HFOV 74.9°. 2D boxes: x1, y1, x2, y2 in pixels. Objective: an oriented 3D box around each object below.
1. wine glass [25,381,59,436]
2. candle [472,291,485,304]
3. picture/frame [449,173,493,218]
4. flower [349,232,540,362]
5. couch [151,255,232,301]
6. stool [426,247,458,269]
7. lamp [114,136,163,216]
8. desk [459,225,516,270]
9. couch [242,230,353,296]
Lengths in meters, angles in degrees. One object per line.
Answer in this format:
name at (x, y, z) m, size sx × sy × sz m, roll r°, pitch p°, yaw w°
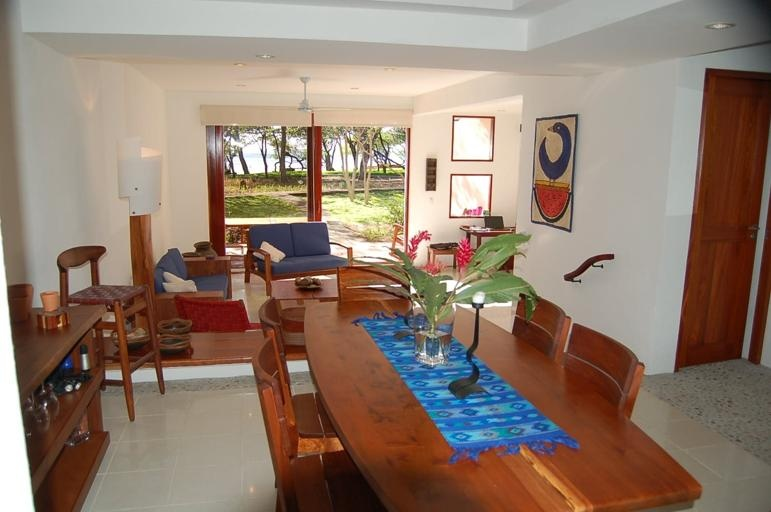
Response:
wine glass at (-2.008, 0.921, 3.050) m, size 0.174 × 0.276 × 0.289 m, roll 0°, pitch -5°, yaw 6°
candle at (0.511, 0.229, 2.758) m, size 0.067 × 0.073 × 0.065 m, roll -2°, pitch 10°, yaw -11°
picture/frame at (1.671, -1.235, 10.108) m, size 0.951 × 0.832 × 0.323 m, roll 0°, pitch 4°, yaw -12°
flower at (0.430, 0.322, 3.170) m, size 1.028 × 0.703 × 1.103 m, roll 2°, pitch 2°, yaw -32°
couch at (-2.761, 0.473, 7.240) m, size 0.829 × 0.957 × 1.458 m, roll -2°, pitch 8°, yaw -13°
stool at (1.041, -0.067, 9.498) m, size 0.568 × 0.526 × 0.554 m, roll -2°, pitch 8°, yaw -13°
lamp at (-2.458, -0.788, 5.057) m, size 0.458 × 0.754 × 0.238 m, roll -12°, pitch 13°, yaw -37°
desk at (2.089, -0.314, 9.511) m, size 1.174 × 1.066 × 1.087 m, roll -2°, pitch 6°, yaw -8°
couch at (-1.598, -0.020, 8.985) m, size 1.650 × 0.987 × 1.065 m, roll -7°, pitch -9°, yaw -6°
